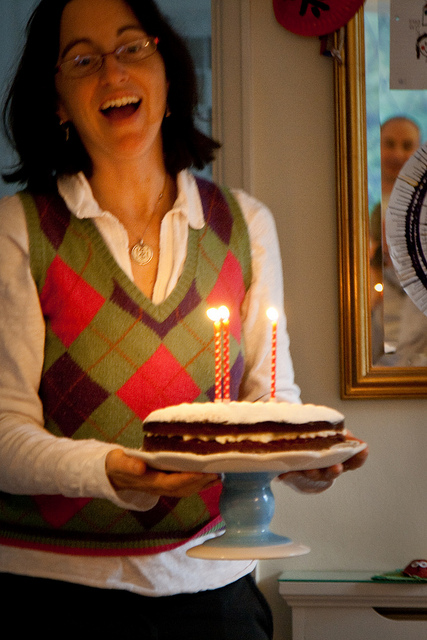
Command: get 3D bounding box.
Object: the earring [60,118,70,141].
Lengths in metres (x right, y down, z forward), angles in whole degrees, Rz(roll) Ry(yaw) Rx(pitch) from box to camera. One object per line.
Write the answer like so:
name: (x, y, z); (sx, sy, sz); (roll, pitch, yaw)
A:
earring: (-0.250, -0.321, 1.068); (0.015, 0.032, 0.006); (-5, -5, 5)

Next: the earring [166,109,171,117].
earring: (-0.082, -0.372, 1.141); (0.004, 0.013, 0.011); (22, 28, 32)
